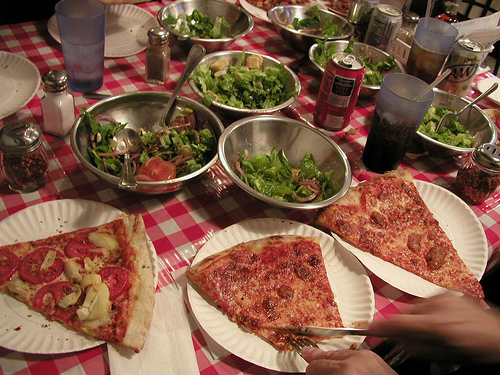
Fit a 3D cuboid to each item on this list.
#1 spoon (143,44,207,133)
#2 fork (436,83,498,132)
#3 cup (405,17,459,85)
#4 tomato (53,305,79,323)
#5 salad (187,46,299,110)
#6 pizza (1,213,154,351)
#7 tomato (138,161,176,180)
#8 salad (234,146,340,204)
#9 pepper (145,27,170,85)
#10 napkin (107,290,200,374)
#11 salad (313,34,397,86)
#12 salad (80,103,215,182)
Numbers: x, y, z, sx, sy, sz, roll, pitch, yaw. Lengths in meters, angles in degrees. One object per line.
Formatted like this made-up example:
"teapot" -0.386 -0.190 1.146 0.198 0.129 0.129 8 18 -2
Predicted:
"spoon" -0.459 -0.713 2.663 0.200 0.096 0.930 27 60 -12
"fork" 1.579 -0.579 2.940 0.641 0.074 0.096 -43 107 -15
"cup" 1.436 -1.025 3.127 0.275 0.521 0.336 -8 30 -22
"tomato" -0.826 0.565 1.785 0.092 0.022 0.076 -5 52 -12
"salad" -0.045 -0.741 2.835 0.772 0.404 0.644 -19 34 -32
"pizza" -0.793 0.367 1.925 0.792 0.116 0.580 15 51 4
"tomato" -0.517 -0.093 2.216 0.206 0.055 0.144 1 51 -7
"salad" 0.209 -0.071 2.352 0.589 0.122 0.369 1 51 -7
"pepper" -0.680 -0.968 2.928 0.214 0.365 0.215 33 40 28
"napkin" -0.439 0.674 1.802 0.378 0.029 0.368 -4 53 -11
"salad" 0.837 -1.004 3.291 0.539 0.139 0.530 33 49 14
"salad" -0.601 -0.250 2.320 0.530 0.194 0.453 8 30 15
